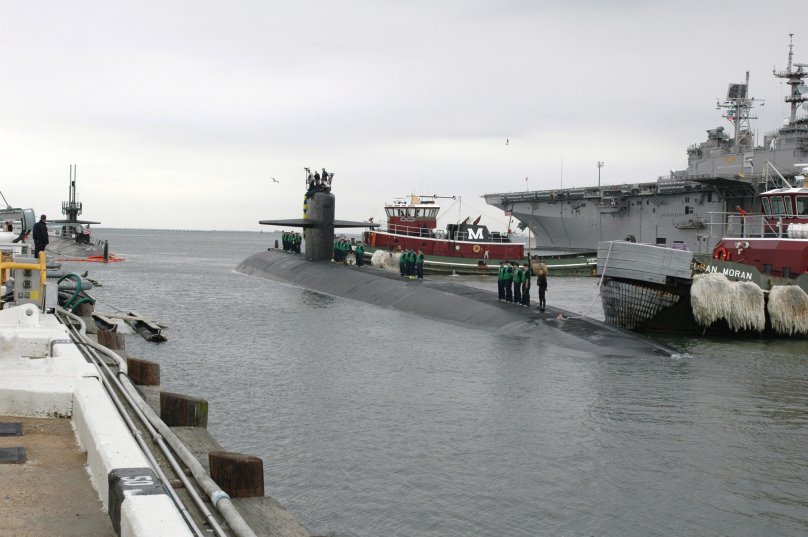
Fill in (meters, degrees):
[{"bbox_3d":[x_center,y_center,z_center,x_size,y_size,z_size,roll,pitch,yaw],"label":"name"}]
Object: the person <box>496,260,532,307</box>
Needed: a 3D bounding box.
[{"bbox_3d":[3.719,0.554,27.197,0.435,1.363,1.994,3,-1,-19],"label":"person"}]
